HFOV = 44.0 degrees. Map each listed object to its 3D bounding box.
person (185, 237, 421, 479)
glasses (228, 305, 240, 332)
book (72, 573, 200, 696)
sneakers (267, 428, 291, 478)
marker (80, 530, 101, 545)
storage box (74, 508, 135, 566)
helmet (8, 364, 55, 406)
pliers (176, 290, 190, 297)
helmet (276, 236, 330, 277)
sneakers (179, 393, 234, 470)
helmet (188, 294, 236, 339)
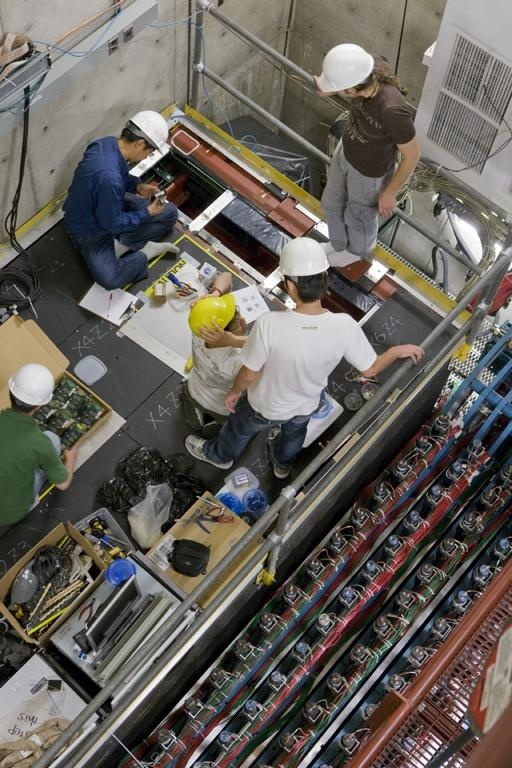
[{"bbox_3d":[0.256,0.040,3.848,0.939,1.917,0.748,-2,42,-16],"label":"person"},{"bbox_3d":[-0.136,-0.389,3.797,0.046,0.122,0.087,25,12,-10],"label":"glasses"},{"bbox_3d":[-0.787,1.354,3.711,0.357,0.484,0.600,33,44,23],"label":"book"},{"bbox_3d":[0.150,0.511,4.516,0.133,0.163,0.379,-4,82,1],"label":"sneakers"},{"bbox_3d":[-1.089,1.004,4.151,0.130,0.031,0.067,38,38,20],"label":"marker"},{"bbox_3d":[-1.000,0.999,4.188,0.268,0.126,0.346,-34,77,-33],"label":"storage box"},{"bbox_3d":[-1.346,0.004,3.814,0.218,0.145,0.266,26,34,-21],"label":"helmet"},{"bbox_3d":[-0.595,-0.726,5.100,0.057,0.026,0.075,11,16,-16],"label":"pliers"},{"bbox_3d":[0.242,-0.610,3.256,0.232,0.187,0.350,8,40,-4],"label":"helmet"},{"bbox_3d":[-0.381,0.442,4.508,0.416,0.159,0.163,28,6,4],"label":"sneakers"},{"bbox_3d":[-0.247,-0.382,3.630,0.128,0.259,0.199,9,58,-52],"label":"helmet"}]
